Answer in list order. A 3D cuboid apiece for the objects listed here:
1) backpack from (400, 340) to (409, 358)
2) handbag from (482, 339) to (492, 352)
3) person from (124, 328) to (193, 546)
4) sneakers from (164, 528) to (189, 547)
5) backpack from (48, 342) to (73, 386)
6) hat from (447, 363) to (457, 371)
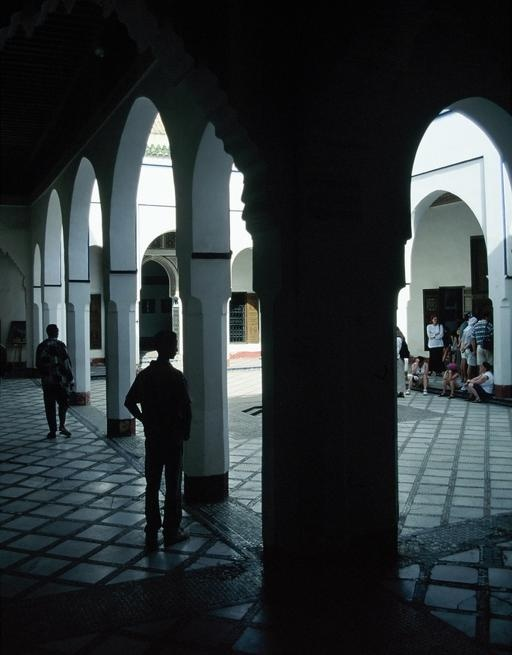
[{"bbox_3d":[3.108,0.464,11.575,0.144,0.354,0.598,-1,-2,22],"label":"backpack"},{"bbox_3d":[4.588,0.329,10.886,0.180,0.378,0.172,0,-1,3],"label":"handbag"},{"bbox_3d":[-0.707,0.782,4.011,0.467,1.508,0.380,0,-2,-6],"label":"person"},{"bbox_3d":[-0.580,1.502,4.017,0.065,0.111,0.202,3,8,38],"label":"sneakers"},{"bbox_3d":[-2.757,0.513,7.717,0.231,0.646,0.367,-2,-3,43],"label":"backpack"},{"bbox_3d":[4.027,0.787,11.316,0.164,0.174,0.120,12,-9,-42],"label":"hat"}]
